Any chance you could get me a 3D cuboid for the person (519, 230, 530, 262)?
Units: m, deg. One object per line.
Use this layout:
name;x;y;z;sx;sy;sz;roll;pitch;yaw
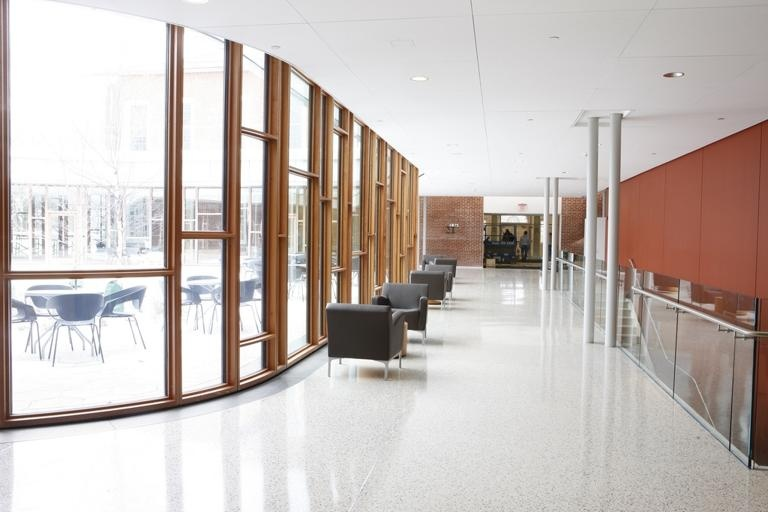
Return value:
person;7.488;-0.496;29.762;0.628;1.610;0.332;0;6;-4
